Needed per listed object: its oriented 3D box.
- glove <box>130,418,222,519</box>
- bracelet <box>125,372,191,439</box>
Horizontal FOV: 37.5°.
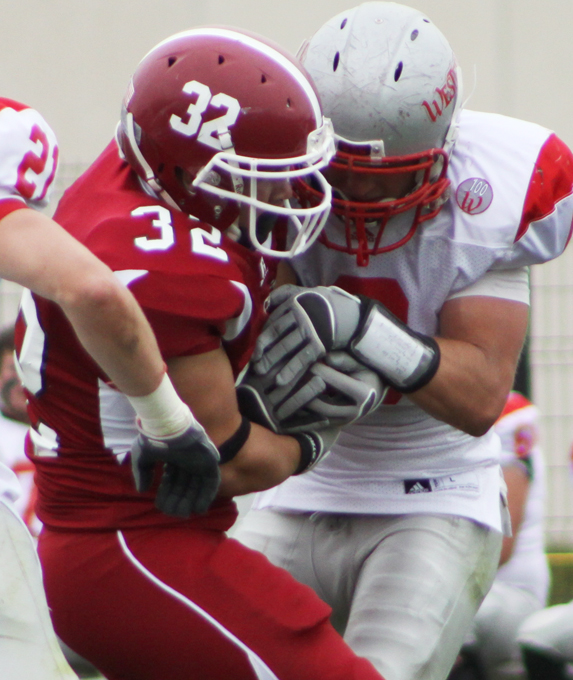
[{"bbox_3d":[-0.160,0.186,1.296,0.175,0.144,0.062,18,45,9],"label":"glove"},{"bbox_3d":[-0.178,0.087,1.206,0.066,0.092,0.064,-10,58,19],"label":"bracelet"}]
